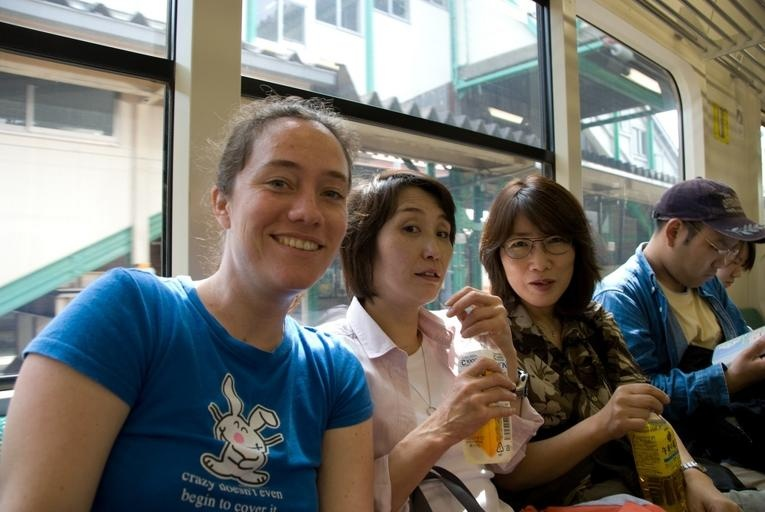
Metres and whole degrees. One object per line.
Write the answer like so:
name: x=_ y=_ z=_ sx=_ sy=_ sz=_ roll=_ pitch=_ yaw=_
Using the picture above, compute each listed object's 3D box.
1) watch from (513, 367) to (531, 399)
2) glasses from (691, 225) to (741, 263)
watch: x=0.465 y=0.426 z=1.930 sx=0.066 sy=0.094 sz=0.102 roll=5 pitch=-1 yaw=7
glasses: x=1.489 y=-0.074 z=2.629 sx=0.193 sy=0.057 sz=0.190 roll=37 pitch=5 yaw=40
